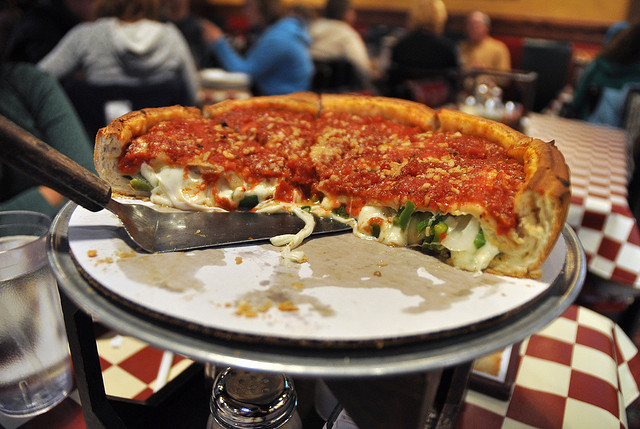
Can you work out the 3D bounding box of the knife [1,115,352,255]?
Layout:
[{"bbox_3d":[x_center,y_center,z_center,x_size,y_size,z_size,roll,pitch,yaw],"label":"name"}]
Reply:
[{"bbox_3d":[-0.522,-0.123,2.089,0.971,0.125,0.221,28,35,0],"label":"knife"}]

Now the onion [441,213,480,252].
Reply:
[{"bbox_3d":[0.539,0.078,1.893,0.108,0.039,0.163,12,74,37],"label":"onion"}]
